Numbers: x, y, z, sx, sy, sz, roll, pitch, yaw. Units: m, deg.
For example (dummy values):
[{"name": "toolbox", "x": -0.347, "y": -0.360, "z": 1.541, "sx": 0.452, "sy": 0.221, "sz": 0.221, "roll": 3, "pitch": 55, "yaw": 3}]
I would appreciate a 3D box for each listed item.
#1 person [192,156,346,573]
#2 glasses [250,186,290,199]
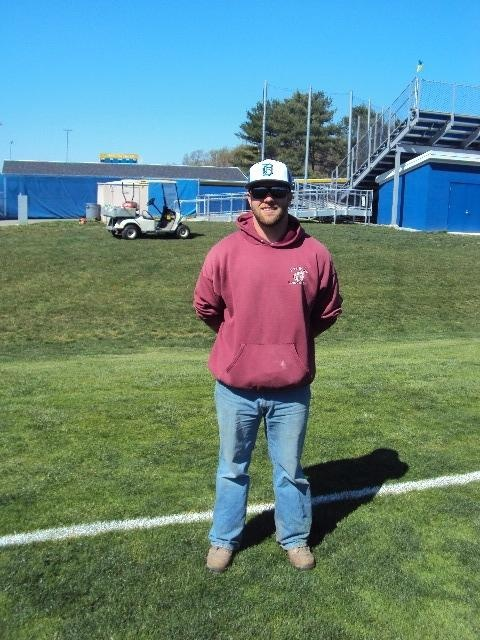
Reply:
[{"name": "person", "x": 0.098, "y": 0.162, "z": 2.597, "sx": 0.617, "sy": 1.623, "sz": 0.378, "roll": 3, "pitch": 9, "yaw": 8}, {"name": "glasses", "x": 0.117, "y": -0.507, "z": 2.519, "sx": 0.152, "sy": 0.051, "sz": 0.060, "roll": 2, "pitch": 10, "yaw": 0}]
